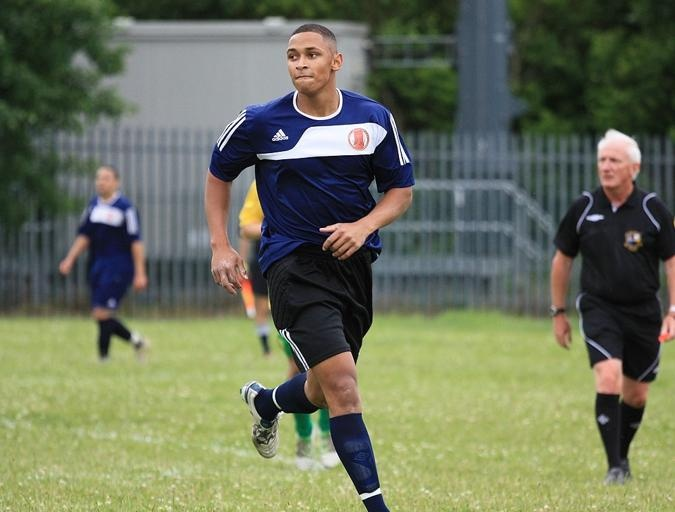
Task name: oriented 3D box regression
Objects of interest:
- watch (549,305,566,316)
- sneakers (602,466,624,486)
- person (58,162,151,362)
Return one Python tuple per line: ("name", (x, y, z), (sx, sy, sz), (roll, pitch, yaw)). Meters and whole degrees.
("watch", (2.134, 0.527, 13.027), (0.102, 0.030, 0.111), (16, 39, 12))
("sneakers", (2.581, 2.005, 12.436), (0.185, 0.126, 0.228), (1, 6, 11))
("person", (-2.492, 0.030, 14.420), (0.895, 1.996, 0.970), (-1, 5, -10))
